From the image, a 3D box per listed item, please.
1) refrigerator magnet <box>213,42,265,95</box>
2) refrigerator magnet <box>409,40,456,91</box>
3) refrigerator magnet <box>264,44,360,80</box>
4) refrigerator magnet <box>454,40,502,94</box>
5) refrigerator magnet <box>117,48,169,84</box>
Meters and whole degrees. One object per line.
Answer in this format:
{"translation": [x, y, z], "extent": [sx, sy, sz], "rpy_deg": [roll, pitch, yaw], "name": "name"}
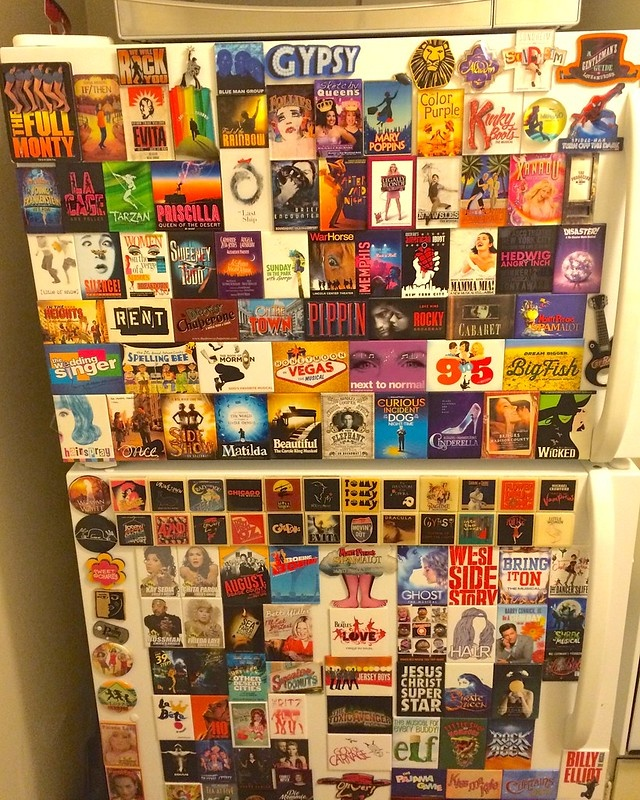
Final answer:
{"translation": [-0.110, -0.453, 0.914], "extent": [0.064, 0.064, 0.061], "rpy_deg": [0, 11, 5], "name": "refrigerator magnet"}
{"translation": [0.151, -0.452, 0.896], "extent": [0.066, 0.059, 0.009], "rpy_deg": [1, 18, 0], "name": "refrigerator magnet"}
{"translation": [-0.009, -0.460, 0.906], "extent": [0.125, 0.041, 0.006], "rpy_deg": [0, 20, 2], "name": "refrigerator magnet"}
{"translation": [0.210, -0.450, 0.896], "extent": [0.073, 0.068, 0.012], "rpy_deg": [2, 26, -1], "name": "refrigerator magnet"}
{"translation": [-0.242, -0.464, 0.924], "extent": [0.053, 0.035, 0.007], "rpy_deg": [4, 36, 4], "name": "refrigerator magnet"}
